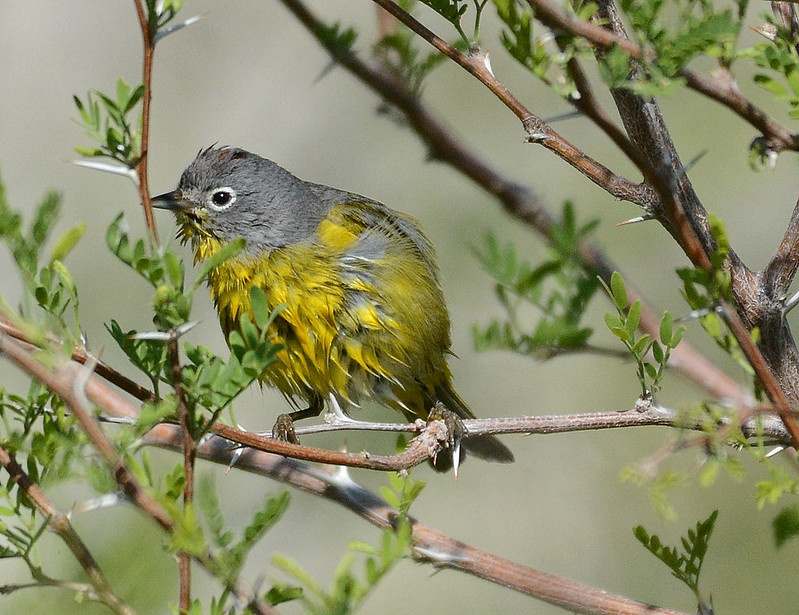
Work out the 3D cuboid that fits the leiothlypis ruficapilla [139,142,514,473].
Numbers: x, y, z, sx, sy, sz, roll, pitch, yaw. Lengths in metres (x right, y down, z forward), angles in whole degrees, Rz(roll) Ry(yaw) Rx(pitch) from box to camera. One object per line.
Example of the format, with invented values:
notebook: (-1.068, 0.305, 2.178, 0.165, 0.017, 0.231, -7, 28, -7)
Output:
leiothlypis ruficapilla: (-0.243, 0.051, 4.752, 1.101, 2.221, 1.645, -9, -95, 39)
